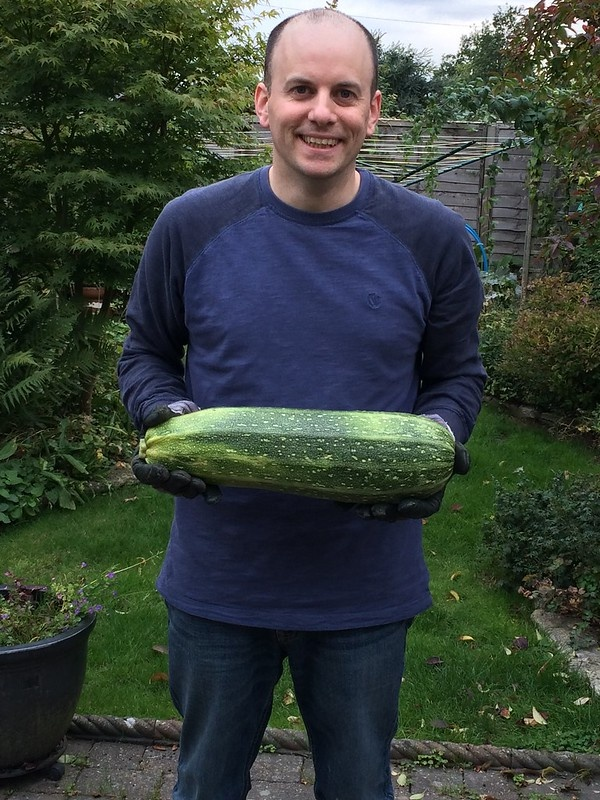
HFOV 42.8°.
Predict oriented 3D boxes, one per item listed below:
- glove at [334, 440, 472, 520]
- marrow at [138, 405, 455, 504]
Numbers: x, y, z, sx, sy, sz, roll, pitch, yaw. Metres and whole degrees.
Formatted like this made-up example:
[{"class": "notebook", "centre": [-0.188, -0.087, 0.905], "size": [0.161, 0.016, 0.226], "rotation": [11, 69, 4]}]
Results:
[{"class": "glove", "centre": [0.276, 0.191, 1.841], "size": [0.294, 0.139, 0.204], "rotation": [-5, 2, -5]}, {"class": "marrow", "centre": [0.006, 0.113, 1.898], "size": [0.805, 0.242, 0.237], "rotation": [4, 30, 1]}]
